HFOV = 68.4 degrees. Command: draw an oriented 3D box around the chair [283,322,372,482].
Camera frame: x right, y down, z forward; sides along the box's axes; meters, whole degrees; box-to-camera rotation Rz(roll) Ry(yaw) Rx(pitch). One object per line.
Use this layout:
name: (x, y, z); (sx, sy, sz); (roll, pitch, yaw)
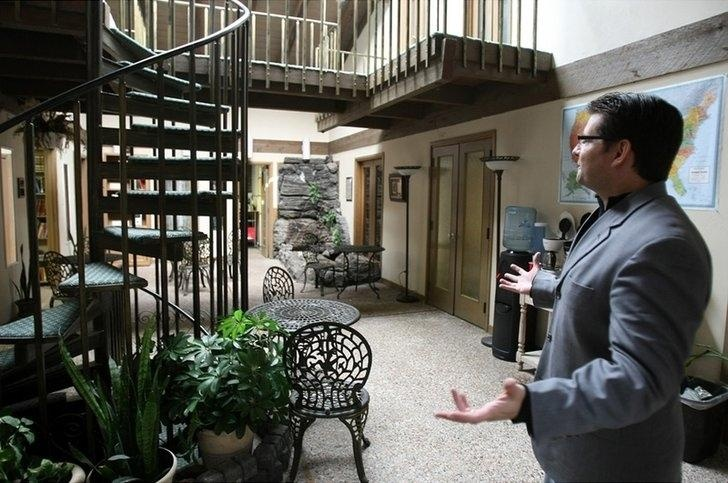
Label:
chair: (-0.230, 0.912, 3.884); (0.573, 1.055, 1.198); (0, 13, -1)
